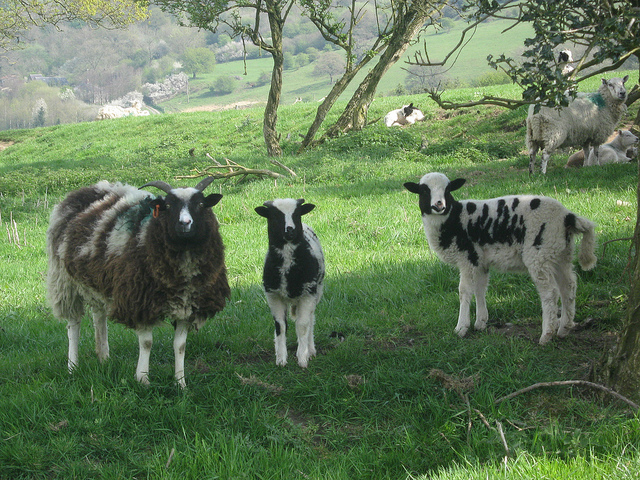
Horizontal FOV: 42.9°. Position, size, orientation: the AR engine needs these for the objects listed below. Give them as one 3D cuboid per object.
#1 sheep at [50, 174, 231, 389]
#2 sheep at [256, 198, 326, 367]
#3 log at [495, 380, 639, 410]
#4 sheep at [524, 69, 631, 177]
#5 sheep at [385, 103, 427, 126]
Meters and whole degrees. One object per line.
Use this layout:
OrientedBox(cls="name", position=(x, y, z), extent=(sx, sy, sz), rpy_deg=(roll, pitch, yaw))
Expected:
OrientedBox(cls="sheep", position=(-2.705, 0.651, 12.419), extent=(1.972, 3.068, 4.075), rpy_deg=(-1, 0, -42))
OrientedBox(cls="sheep", position=(-0.416, 0.610, 12.308), extent=(0.793, 2.444, 1.052), rpy_deg=(1, 8, 16))
OrientedBox(cls="log", position=(3.245, 2.049, 10.688), extent=(1.816, 0.197, 0.614), rpy_deg=(-5, 49, 22))
OrientedBox(cls="sheep", position=(6.001, -2.645, 18.794), extent=(2.614, 2.266, 1.054), rpy_deg=(-7, 11, -18))
OrientedBox(cls="sheep", position=(3.101, -4.477, 29.661), extent=(1.439, 0.846, 0.759), rpy_deg=(-7, 20, -7))
